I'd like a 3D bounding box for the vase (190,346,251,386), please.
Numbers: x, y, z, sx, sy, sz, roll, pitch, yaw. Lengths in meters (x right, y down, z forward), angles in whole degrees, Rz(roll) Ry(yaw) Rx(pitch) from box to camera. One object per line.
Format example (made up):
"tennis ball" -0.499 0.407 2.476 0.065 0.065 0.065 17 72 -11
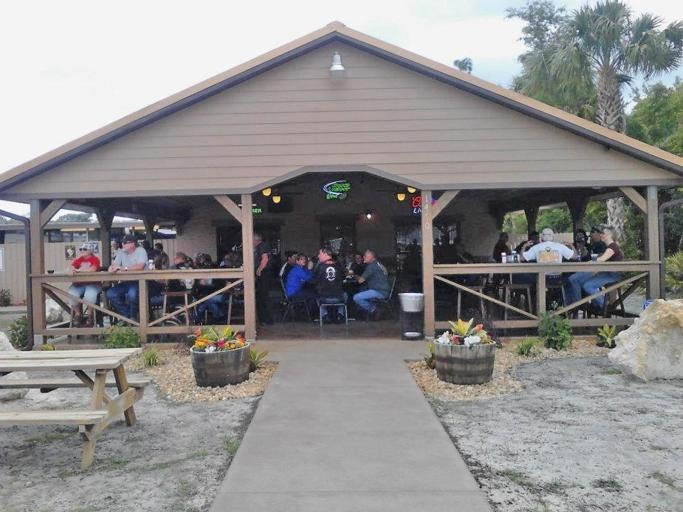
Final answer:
"vase" -1.638 1.471 8.346 0.566 0.372 0.563 -1 -4 0

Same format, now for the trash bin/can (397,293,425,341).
"trash bin/can" 1.267 1.029 10.435 0.499 0.787 0.574 -1 -9 19

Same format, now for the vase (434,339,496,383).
"vase" 1.752 1.575 8.542 0.899 0.587 0.933 6 -8 3

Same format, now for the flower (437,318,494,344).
"flower" 1.778 1.093 8.453 0.566 0.268 0.612 -6 -7 30

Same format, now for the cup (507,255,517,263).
"cup" 3.330 0.054 11.847 0.175 0.120 0.182 0 7 0

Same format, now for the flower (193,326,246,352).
"flower" -1.691 1.171 8.418 0.563 0.309 0.537 3 -5 -16

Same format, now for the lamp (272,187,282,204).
"lamp" -1.700 -1.644 16.687 0.269 0.384 0.293 0 -1 -6

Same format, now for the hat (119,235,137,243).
"hat" -4.002 -0.293 11.385 0.232 0.129 0.177 16 6 10

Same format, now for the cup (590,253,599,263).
"cup" 4.757 0.039 11.452 0.133 0.215 0.138 -1 12 0

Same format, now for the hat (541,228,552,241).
"hat" 3.822 -0.411 11.292 0.187 0.276 0.266 5 16 18

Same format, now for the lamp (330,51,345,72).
"lamp" -0.058 -3.333 10.394 0.240 0.354 0.486 -1 13 0
